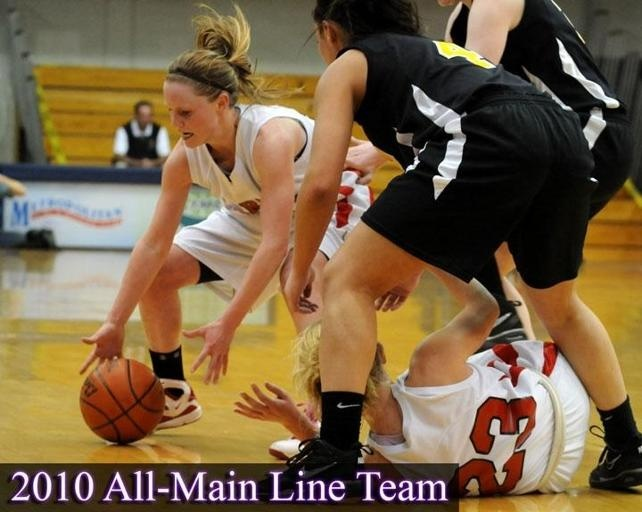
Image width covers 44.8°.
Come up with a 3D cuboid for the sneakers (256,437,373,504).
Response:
[{"bbox_3d":[-0.006,0.553,2.031,0.335,0.152,0.117,1,1,3],"label":"sneakers"}]

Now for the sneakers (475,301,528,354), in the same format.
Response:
[{"bbox_3d":[0.675,0.231,2.905,0.186,0.255,0.133,4,2,19],"label":"sneakers"}]

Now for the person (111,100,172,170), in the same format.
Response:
[{"bbox_3d":[-2.215,-1.404,9.595,0.670,0.972,0.601,-1,21,-21],"label":"person"}]

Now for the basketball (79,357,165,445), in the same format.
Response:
[{"bbox_3d":[-0.625,0.420,2.531,0.251,0.272,0.257,16,9,38],"label":"basketball"}]
